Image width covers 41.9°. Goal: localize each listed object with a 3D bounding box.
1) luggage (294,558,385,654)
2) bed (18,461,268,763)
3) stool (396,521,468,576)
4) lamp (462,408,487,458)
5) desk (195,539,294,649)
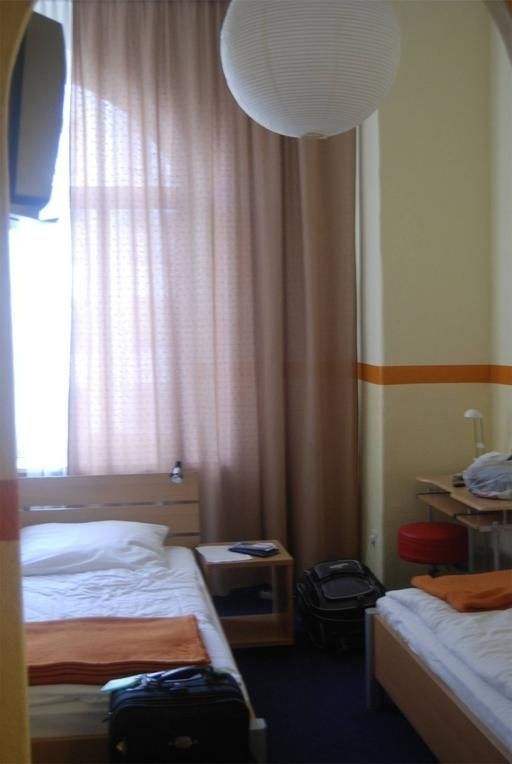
[{"bbox_3d":[0.395,1.027,3.177,0.377,0.324,0.549,-4,2,-10],"label":"luggage"},{"bbox_3d":[-0.507,0.789,2.454,0.654,0.500,1.115,-1,20,-9],"label":"bed"},{"bbox_3d":[0.798,0.707,2.937,0.250,0.159,0.249,5,-5,-40],"label":"stool"},{"bbox_3d":[1.072,0.261,3.275,0.101,0.260,0.350,-3,2,19],"label":"lamp"},{"bbox_3d":[-0.010,0.843,3.138,0.384,0.421,0.431,2,29,3],"label":"desk"}]
